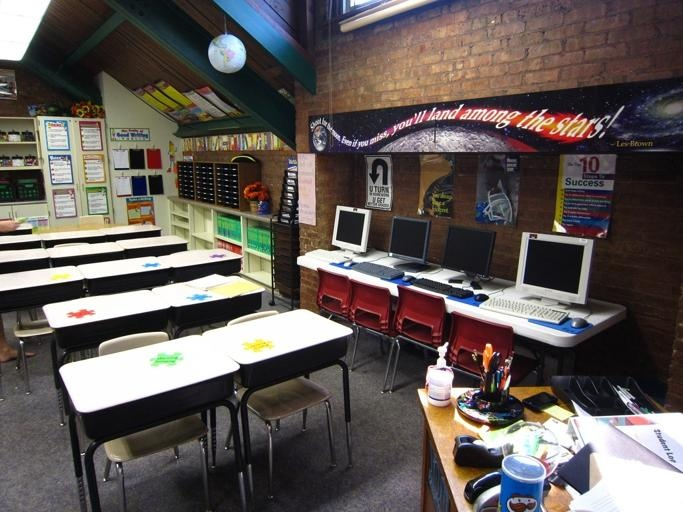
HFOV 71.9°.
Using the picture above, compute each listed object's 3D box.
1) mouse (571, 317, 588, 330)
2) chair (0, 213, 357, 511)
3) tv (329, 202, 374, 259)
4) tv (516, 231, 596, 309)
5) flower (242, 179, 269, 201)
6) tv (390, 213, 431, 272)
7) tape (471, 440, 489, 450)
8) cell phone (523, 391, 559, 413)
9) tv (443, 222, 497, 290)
[{"bbox_3d":[1.667,0.456,3.287,0.103,0.053,0.160,6,12,28],"label":"mouse"},{"bbox_3d":[-1.082,0.933,3.439,1.688,1.122,1.747,-7,13,-32],"label":"chair"},{"bbox_3d":[0.105,-0.278,5.066,0.574,0.563,0.207,14,7,41],"label":"tv"},{"bbox_3d":[1.625,0.107,3.534,0.539,0.525,0.194,9,10,42],"label":"tv"},{"bbox_3d":[-1.186,-0.934,6.666,0.390,0.265,0.421,-7,13,-32],"label":"flower"},{"bbox_3d":[0.676,-0.129,4.550,0.494,0.492,0.284,11,19,42],"label":"tv"},{"bbox_3d":[0.626,0.842,2.122,0.043,0.020,0.058,7,10,-21],"label":"tape"},{"bbox_3d":[1.029,0.751,2.443,0.121,0.027,0.083,-11,15,-34],"label":"cell phone"},{"bbox_3d":[1.133,0.007,4.095,0.455,0.491,0.337,15,26,42],"label":"tv"}]
